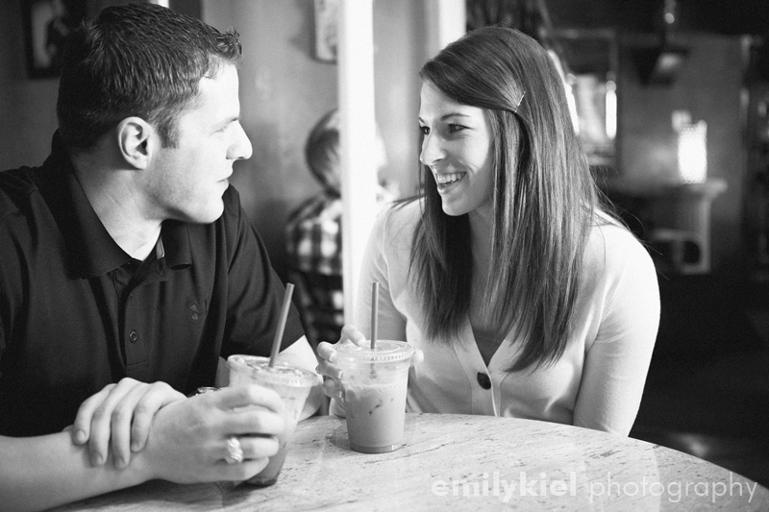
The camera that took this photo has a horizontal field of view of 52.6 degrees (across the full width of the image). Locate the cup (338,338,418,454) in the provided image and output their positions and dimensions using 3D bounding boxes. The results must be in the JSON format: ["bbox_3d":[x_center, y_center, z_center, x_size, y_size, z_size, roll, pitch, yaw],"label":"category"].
[{"bbox_3d":[-0.035,0.372,2.160,0.295,0.304,0.261,0,-4,-6],"label":"cup"}]

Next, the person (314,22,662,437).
[{"bbox_3d":[0.414,-0.094,2.689,1.032,1.329,0.367,5,10,25],"label":"person"}]

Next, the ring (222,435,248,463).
[{"bbox_3d":[-0.376,0.481,1.938,0.048,0.058,0.026,-2,10,-17],"label":"ring"}]

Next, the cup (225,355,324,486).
[{"bbox_3d":[-0.297,0.428,2.033,0.240,0.319,0.140,1,9,-2],"label":"cup"}]
